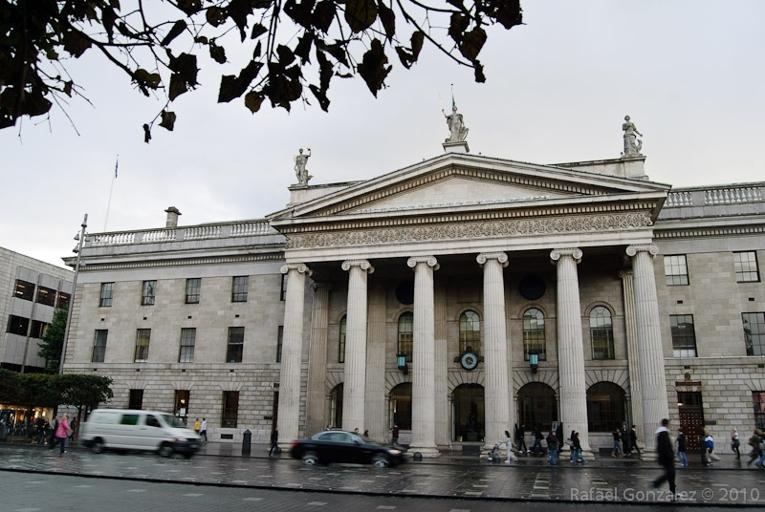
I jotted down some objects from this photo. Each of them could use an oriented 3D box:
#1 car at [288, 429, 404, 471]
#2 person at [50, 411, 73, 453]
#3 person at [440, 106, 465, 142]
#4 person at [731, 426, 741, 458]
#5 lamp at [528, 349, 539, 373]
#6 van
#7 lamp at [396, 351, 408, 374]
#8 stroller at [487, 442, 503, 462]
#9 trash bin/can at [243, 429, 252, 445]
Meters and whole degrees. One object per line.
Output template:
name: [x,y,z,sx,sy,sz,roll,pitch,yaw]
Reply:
car: [-1.726,9.082,30.033,4.867,1.370,2.027,-3,-17,11]
person: [-15.906,8.716,31.566,1.036,1.683,0.812,4,-1,-20]
person: [4.608,-8.055,39.619,1.199,2.272,0.672,2,-8,3]
person: [18.858,10.037,33.990,0.438,1.396,1.893,-2,-9,28]
lamp: [9.130,6.388,38.330,0.655,1.389,1.024,0,-9,16]
van: [-12.172,8.859,31.940,5.854,2.123,1.158,0,-9,14]
lamp: [1.248,6.782,40.106,0.710,1.258,0.871,3,-8,0]
stroller: [5.826,10.088,32.536,0.855,1.235,0.661,-11,-24,39]
trash bin/can: [-7.645,10.230,35.837,0.302,0.722,0.468,3,-8,1]
